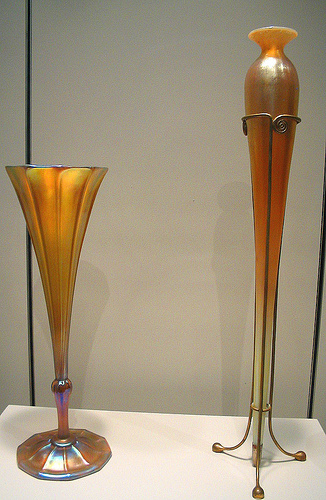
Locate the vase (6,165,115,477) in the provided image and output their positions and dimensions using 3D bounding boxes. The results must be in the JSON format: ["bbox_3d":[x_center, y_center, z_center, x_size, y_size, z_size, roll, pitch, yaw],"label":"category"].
[{"bbox_3d":[-0.224,0.144,1.224,0.238,0.634,0.207,12,18,34],"label":"vase"}]

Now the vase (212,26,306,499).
[{"bbox_3d":[0.227,0.019,1.221,0.208,0.927,0.364,2,15,1],"label":"vase"}]
